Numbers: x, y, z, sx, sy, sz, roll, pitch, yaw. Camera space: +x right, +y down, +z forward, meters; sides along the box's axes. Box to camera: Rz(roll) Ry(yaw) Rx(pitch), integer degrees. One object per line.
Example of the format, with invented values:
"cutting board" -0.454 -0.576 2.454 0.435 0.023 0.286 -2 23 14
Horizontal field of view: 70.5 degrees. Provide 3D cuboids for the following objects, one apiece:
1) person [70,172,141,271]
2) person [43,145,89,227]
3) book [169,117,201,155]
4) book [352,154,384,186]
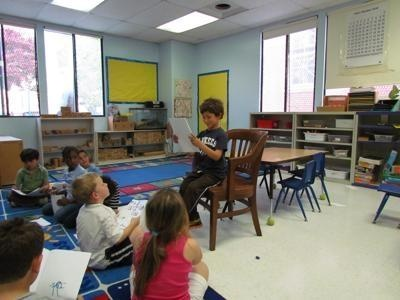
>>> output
"person" -0.725 0.646 2.504 0.469 0.918 0.646 3 6 43
"person" -1.545 0.394 3.352 0.546 0.853 0.540 3 -4 15
"book" -0.071 -0.174 2.928 0.224 0.317 0.410 -16 19 -33
"book" 2.813 0.333 4.737 0.354 0.442 0.447 11 16 39
